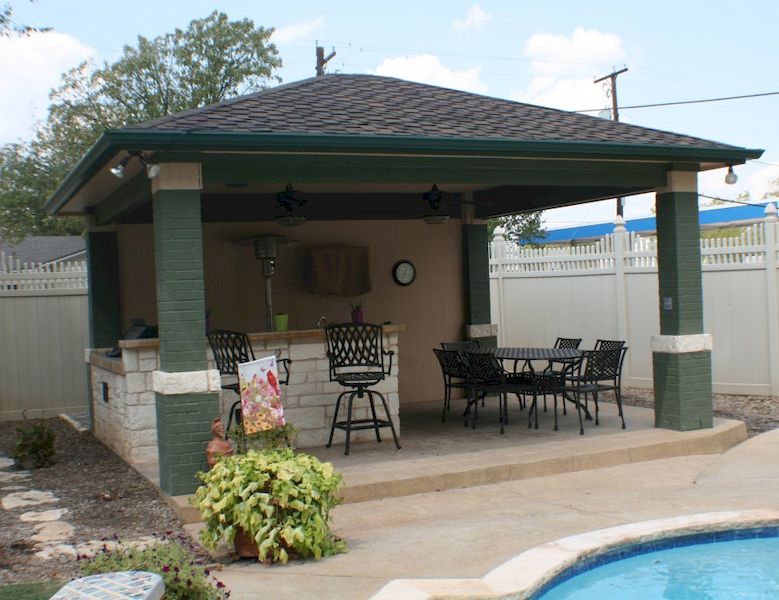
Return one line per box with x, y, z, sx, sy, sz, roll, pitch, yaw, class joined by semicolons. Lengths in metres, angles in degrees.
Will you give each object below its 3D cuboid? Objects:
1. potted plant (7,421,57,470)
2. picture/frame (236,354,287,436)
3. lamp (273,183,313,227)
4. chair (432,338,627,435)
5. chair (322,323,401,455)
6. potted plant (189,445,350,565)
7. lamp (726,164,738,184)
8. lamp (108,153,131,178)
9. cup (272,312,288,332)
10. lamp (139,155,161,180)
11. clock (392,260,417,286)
-4.149;1.704;8.026;0.451;0.479;0.443;-1;-2;-24;potted plant
-1.129;0.854;6.063;0.178;0.675;0.479;-3;-3;35;picture/frame
-1.227;-1.184;8.786;0.691;0.556;0.620;-1;-3;-5;lamp
1.849;1.095;9.098;2.284;1.047;2.288;-1;-2;-8;chair
-0.313;0.967;7.780;0.841;1.405;1.202;-2;-2;-3;chair
-0.938;1.636;5.297;1.057;0.619;1.029;0;-15;-6;potted plant
4.053;-1.492;8.174;0.105;0.227;0.420;-3;-2;27;lamp
-2.602;-1.311;6.656;0.246;0.125;0.153;-38;-40;23;lamp
-1.309;0.274;8.345;0.276;0.186;0.238;0;0;-6;cup
-2.164;-1.218;6.228;0.155;0.266;0.420;-1;-2;-27;lamp
0.222;-0.425;10.891;0.466;0.387;0.077;-2;-2;-34;clock
